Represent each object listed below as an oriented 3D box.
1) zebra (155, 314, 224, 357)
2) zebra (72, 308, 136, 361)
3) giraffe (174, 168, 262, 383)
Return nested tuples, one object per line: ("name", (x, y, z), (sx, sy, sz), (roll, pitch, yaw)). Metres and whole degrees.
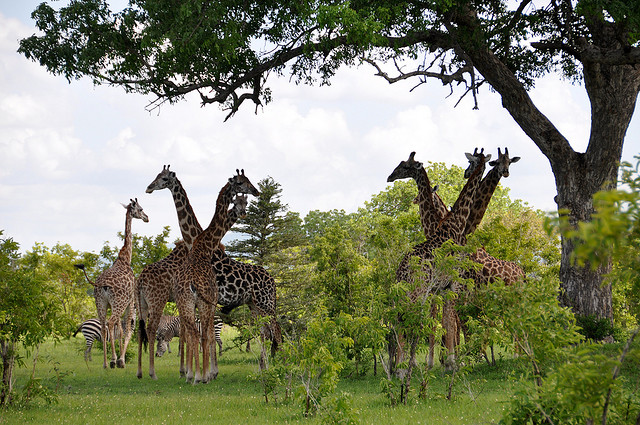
("zebra", (-6.050, 5.821, 31.794), (3.434, 1.966, 0.928), (3, -1, -20))
("zebra", (-9.357, 5.414, 29.888), (2.908, 2.100, 0.727), (-3, 7, -20))
("giraffe", (-3.728, 2.793, 24.780), (2.108, 7.825, 2.832), (6, -12, -21))
